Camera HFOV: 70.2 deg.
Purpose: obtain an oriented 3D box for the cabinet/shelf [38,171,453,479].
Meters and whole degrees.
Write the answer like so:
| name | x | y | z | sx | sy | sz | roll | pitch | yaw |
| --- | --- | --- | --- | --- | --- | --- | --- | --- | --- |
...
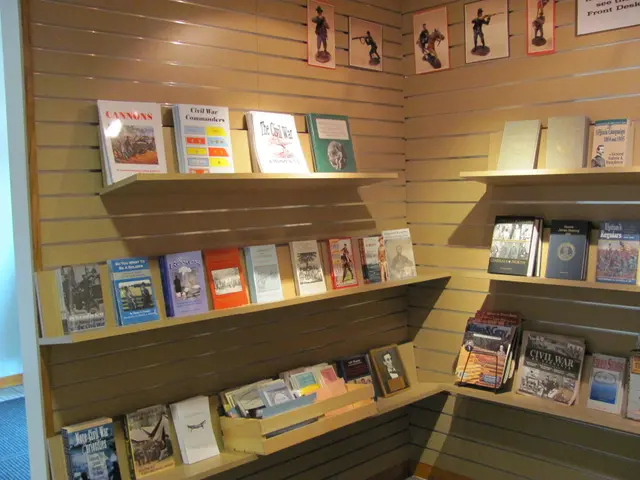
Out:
| name | x | y | z | sx | sy | sz | roll | pitch | yaw |
| --- | --- | --- | --- | --- | --- | --- | --- | --- | --- |
| cabinet/shelf | -0.316 | 0.303 | 2.738 | 2.401 | 1.414 | 0.360 | -10 | 8 | -35 |
